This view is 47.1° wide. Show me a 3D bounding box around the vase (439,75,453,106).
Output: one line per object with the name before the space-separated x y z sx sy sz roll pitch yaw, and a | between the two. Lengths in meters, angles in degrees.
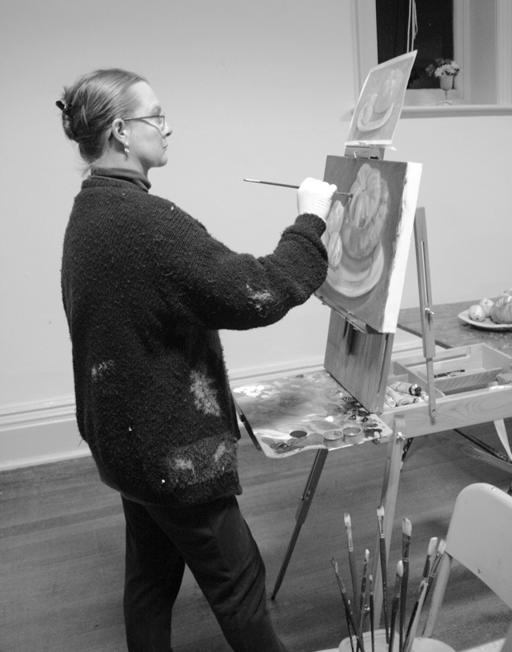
vase | 1.092 -1.346 3.367 0.075 0.163 0.232 -1 11 18
